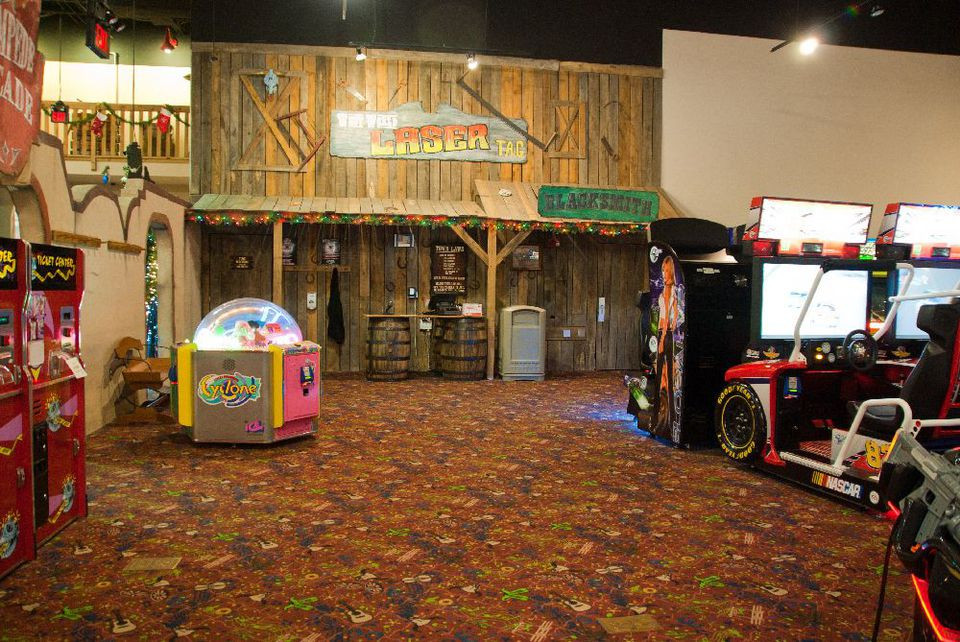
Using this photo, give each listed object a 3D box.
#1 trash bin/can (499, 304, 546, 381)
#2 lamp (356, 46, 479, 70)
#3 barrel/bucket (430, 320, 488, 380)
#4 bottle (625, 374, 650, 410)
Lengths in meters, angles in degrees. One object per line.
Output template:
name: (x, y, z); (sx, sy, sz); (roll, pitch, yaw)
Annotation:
trash bin/can: (0.669, 0.394, 12.626); (0.731, 1.258, 0.321); (0, 6, -5)
lamp: (-1.058, -4.647, 12.997); (2.203, 0.354, 1.076); (-1, 8, -13)
barrel/bucket: (-0.487, 0.456, 12.622); (0.903, 1.005, 0.905); (0, 1, 0)
bottle: (1.983, 0.926, 9.625); (0.148, 0.445, 0.693); (0, 7, -8)
